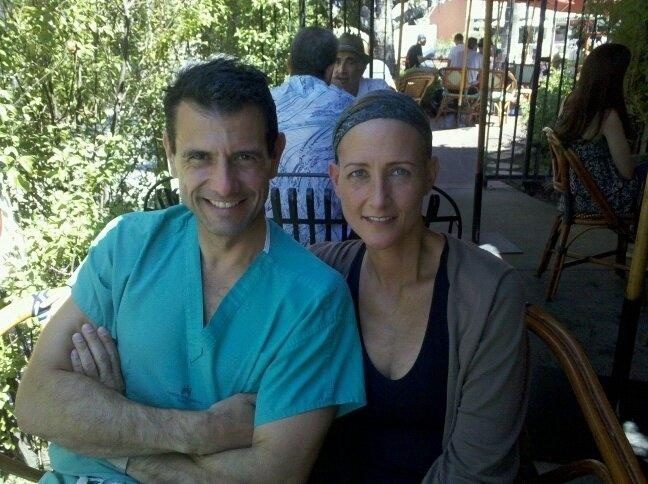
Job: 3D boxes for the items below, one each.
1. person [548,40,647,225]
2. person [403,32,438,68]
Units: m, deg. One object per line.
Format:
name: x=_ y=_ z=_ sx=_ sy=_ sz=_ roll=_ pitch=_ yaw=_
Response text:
person: x=2.229 y=-0.886 z=4.065 sx=0.640 sy=1.313 sz=0.403 roll=5 pitch=15 yaw=26
person: x=2.791 y=-5.364 z=14.850 sx=0.674 sy=1.264 sz=0.654 roll=-2 pitch=10 yaw=-7
